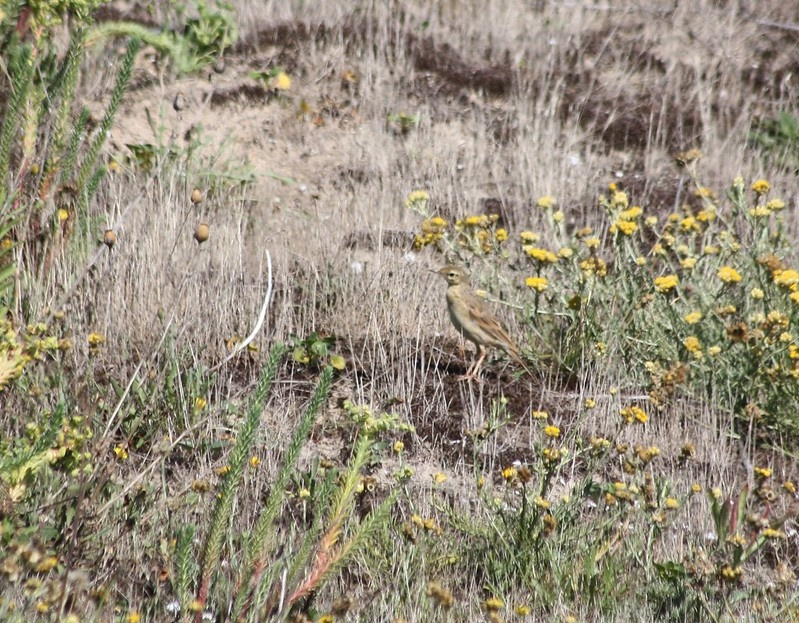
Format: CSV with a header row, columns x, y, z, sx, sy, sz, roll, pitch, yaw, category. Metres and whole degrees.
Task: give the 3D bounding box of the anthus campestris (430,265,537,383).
x,y,z,sx,sy,sz,roll,pitch,yaw,category
0.529,0.063,6.956,0.603,0.753,0.262,-2,7,-2,anthus campestris
